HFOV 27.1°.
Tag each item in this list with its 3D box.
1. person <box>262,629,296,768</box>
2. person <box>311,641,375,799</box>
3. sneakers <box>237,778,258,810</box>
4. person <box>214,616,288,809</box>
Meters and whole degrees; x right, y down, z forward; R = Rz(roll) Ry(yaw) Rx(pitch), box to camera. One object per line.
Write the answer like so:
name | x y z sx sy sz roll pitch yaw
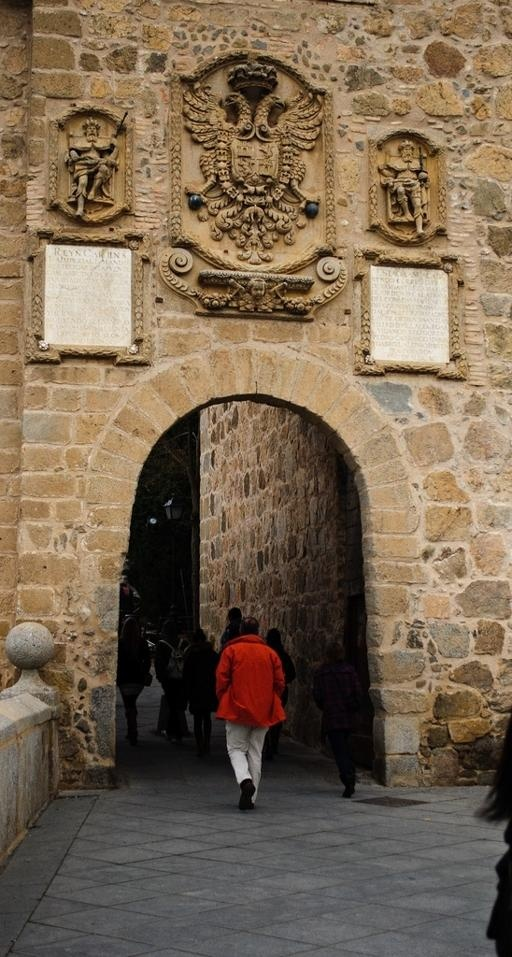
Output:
person | 0.188 2.168 10.675 0.439 1.374 0.422 7 16 24
person | 0.642 1.782 7.973 0.361 1.099 0.494 5 -9 -29
sneakers | -0.059 2.031 6.906 0.087 0.251 0.105 7 12 -12
person | -0.045 1.569 7.216 0.452 1.260 0.644 1 -8 0
